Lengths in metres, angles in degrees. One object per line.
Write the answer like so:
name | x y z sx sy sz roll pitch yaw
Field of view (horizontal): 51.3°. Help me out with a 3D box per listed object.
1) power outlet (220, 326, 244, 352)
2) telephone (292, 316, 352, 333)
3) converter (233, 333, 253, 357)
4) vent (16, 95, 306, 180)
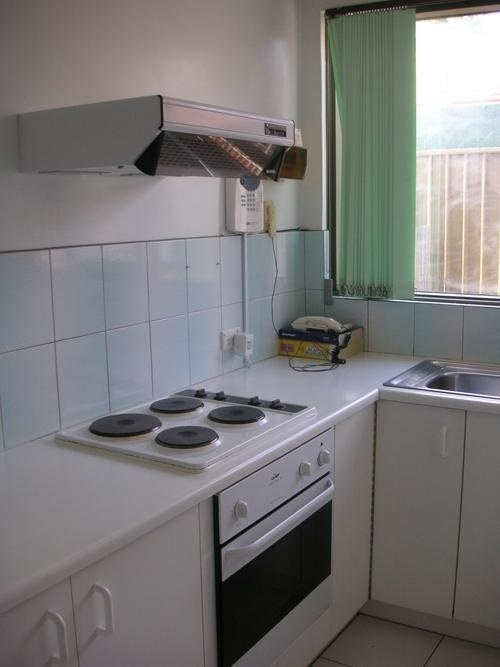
power outlet | -0.067 0.028 2.127 0.039 0.098 0.141 3 13 31
telephone | 0.317 -0.042 2.403 0.155 0.051 0.122 3 4 24
converter | -0.026 0.046 2.189 0.080 0.135 0.086 -3 10 -25
vent | -0.150 -0.414 1.168 0.391 0.142 0.630 8 16 44
